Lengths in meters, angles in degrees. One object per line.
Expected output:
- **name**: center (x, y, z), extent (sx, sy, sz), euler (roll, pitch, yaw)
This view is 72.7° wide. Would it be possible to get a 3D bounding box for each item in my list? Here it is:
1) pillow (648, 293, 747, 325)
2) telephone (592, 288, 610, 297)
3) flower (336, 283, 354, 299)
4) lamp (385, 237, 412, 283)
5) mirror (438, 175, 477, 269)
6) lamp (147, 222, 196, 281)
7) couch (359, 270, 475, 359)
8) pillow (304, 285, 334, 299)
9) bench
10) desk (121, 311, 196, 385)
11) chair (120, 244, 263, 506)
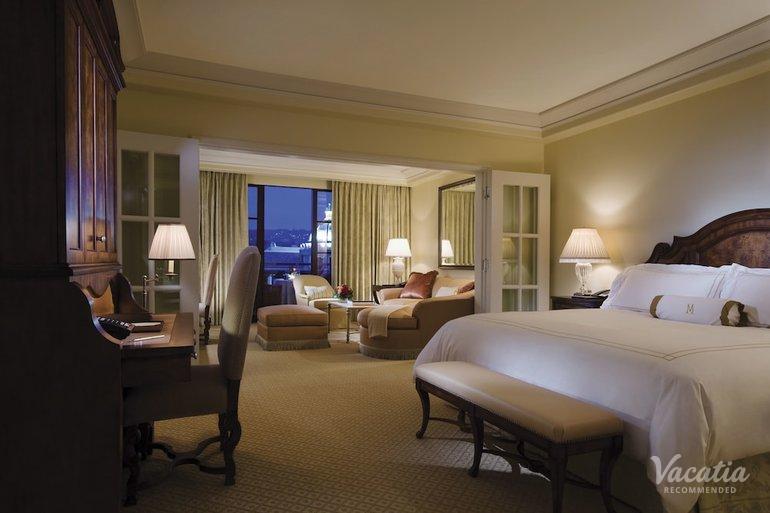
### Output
- **pillow**: center (2.484, 0.425, 4.227), extent (0.231, 0.227, 0.703), euler (-4, 9, -32)
- **telephone**: center (2.397, 0.413, 5.779), extent (0.171, 0.049, 0.099), euler (-1, 5, -20)
- **flower**: center (-0.616, 0.529, 7.971), extent (0.201, 0.210, 0.213), euler (1, -2, 13)
- **lamp**: center (0.231, 0.067, 9.562), extent (0.516, 0.783, 0.542), euler (-2, -10, 21)
- **mirror**: center (1.155, -0.527, 8.308), extent (0.119, 1.658, 1.493), euler (1, -2, -26)
- **lamp**: center (-1.942, -0.062, 4.786), extent (0.437, 0.444, 0.450), euler (-1, -1, -20)
- **couch**: center (0.438, 0.801, 7.151), extent (1.572, 0.992, 1.145), euler (-1, 3, -33)
- **pillow**: center (-1.071, 0.579, 8.507), extent (0.494, 0.190, 0.333), euler (-1, 8, -11)
- **bench**: center (0.858, 1.202, 3.598), extent (0.472, 0.662, 1.375), euler (-6, 10, -41)
- **desk**: center (-1.444, 0.467, 3.376), extent (0.452, 0.209, 0.849), euler (-2, 23, -23)
- **chair**: center (-1.389, 0.758, 3.771), extent (1.060, 1.598, 1.033), euler (0, 1, 2)
